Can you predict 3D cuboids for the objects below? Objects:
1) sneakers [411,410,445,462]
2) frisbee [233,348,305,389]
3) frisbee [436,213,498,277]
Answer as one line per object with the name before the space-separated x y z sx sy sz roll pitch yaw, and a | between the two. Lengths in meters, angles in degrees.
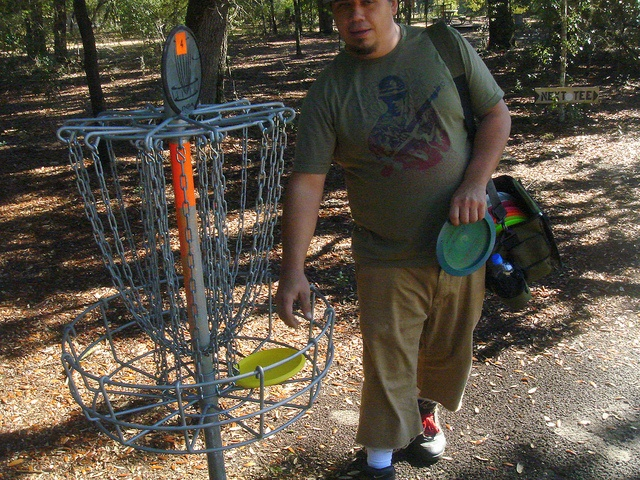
sneakers | 0.750 1.378 4.677 0.212 0.215 0.437 -3 1 9
frisbee | -0.263 0.659 3.567 0.370 0.148 0.396 -4 17 -7
frisbee | 0.855 0.013 3.972 0.455 0.401 0.070 -39 32 -21
